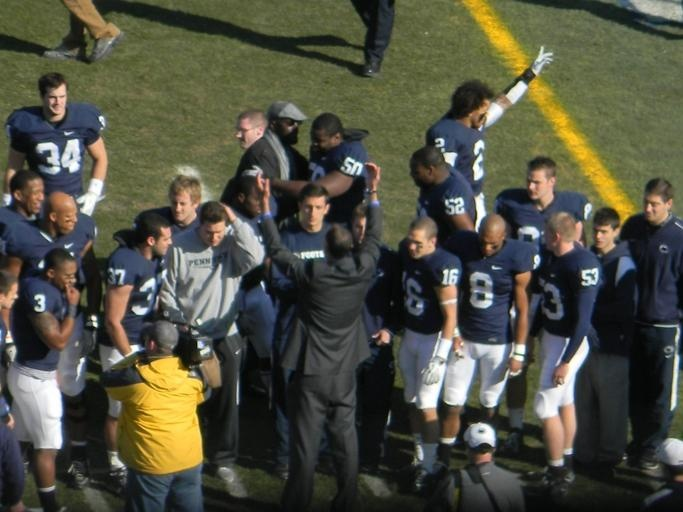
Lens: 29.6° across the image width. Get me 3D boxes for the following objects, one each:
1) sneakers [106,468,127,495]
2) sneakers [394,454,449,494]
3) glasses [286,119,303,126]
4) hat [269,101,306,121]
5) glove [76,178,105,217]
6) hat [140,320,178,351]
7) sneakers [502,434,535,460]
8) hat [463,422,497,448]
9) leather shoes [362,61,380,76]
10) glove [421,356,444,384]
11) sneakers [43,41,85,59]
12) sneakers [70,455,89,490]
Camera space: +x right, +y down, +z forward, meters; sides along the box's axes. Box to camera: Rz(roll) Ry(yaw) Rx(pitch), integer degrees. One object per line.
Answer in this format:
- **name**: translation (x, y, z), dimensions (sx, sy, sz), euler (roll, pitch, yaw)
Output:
- **sneakers**: translation (-2.133, 2.077, 12.098), dimensions (0.111, 0.267, 0.337), euler (5, 4, -33)
- **sneakers**: translation (0.853, 2.061, 12.201), dimensions (0.660, 0.221, 0.262), euler (-8, -17, -5)
- **glasses**: translation (-0.486, -1.332, 12.983), dimensions (0.102, 0.034, 0.136), euler (-2, -3, -2)
- **hat**: translation (-0.570, -1.443, 12.981), dimensions (0.303, 0.133, 0.204), euler (-2, 17, 4)
- **glove**: translation (-2.648, -0.588, 13.600), dimensions (0.278, 0.425, 0.123), euler (4, -41, -5)
- **hat**: translation (-1.573, 0.646, 11.144), dimensions (0.301, 0.171, 0.222), euler (38, 39, 19)
- **sneakers**: translation (1.707, 1.852, 12.591), dimensions (0.423, 0.178, 0.150), euler (17, -17, -38)
- **hat**: translation (1.196, 1.544, 11.164), dimensions (0.260, 0.163, 0.274), euler (7, 4, 5)
- **leather shoes**: translation (0.389, -2.456, 17.180), dimensions (0.231, 0.211, 0.128), euler (11, 28, -12)
- **glove**: translation (0.853, 1.064, 12.005), dimensions (0.190, 0.245, 0.085), euler (10, -9, 15)
- **sneakers**: translation (-3.562, -2.609, 16.543), dimensions (0.478, 0.186, 0.196), euler (1, 5, -18)
- **sneakers**: translation (-2.474, 2.015, 12.105), dimensions (0.176, 0.260, 0.096), euler (-4, 3, -11)
